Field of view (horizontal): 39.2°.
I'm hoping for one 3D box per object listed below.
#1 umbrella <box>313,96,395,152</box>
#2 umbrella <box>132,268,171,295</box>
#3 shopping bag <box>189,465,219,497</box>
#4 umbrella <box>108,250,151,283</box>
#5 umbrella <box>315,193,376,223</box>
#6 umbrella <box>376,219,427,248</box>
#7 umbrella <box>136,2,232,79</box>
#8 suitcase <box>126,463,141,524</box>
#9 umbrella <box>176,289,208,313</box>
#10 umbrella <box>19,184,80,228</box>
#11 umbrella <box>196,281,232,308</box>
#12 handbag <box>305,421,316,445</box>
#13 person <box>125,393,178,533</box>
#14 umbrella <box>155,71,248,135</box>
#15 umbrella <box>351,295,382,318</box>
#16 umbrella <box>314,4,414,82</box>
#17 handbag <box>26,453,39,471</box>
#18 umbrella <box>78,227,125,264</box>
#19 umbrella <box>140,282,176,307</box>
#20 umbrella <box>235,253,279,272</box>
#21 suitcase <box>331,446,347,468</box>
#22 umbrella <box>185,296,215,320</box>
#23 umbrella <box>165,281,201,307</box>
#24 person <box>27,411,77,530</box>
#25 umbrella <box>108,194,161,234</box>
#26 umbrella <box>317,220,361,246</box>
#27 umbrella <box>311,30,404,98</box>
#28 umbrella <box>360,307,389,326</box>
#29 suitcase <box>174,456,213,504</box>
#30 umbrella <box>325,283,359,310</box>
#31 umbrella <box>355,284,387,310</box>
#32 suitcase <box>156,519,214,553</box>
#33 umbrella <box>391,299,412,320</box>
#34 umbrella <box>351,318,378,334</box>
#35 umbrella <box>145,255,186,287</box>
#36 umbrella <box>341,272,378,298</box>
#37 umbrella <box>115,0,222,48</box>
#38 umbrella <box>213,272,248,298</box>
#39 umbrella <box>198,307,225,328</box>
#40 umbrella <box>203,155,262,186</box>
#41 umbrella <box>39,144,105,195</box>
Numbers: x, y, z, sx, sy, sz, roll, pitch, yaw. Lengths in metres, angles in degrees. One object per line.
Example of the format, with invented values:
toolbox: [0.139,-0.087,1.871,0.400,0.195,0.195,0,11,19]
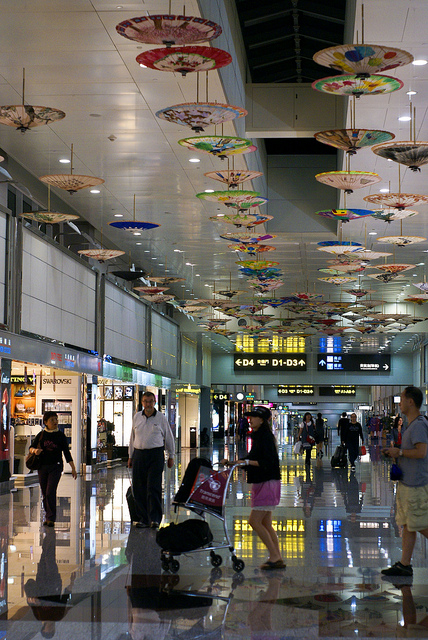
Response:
umbrella: [2.376,-3.266,10.207,1.237,0.871,1.183,2,-1,4]
umbrella: [-2.712,-1.677,25.700,1.317,1.165,1.268,1,-4,2]
shopping bag: [-0.095,1.525,5.727,0.250,0.260,0.089,2,-7,-2]
umbrella: [-3.293,-2.076,23.284,1.502,1.261,1.487,-1,-2,20]
umbrella: [3.589,-2.816,16.309,1.325,0.795,1.278,-1,-14,5]
umbrella: [5.321,-2.515,17.143,0.903,0.819,0.865,3,-12,0]
umbrella: [-0.319,-3.215,7.017,0.670,0.595,0.641,0,-15,0]
suitcase: [-1.148,2.664,8.640,0.171,0.570,0.828,3,-7,-10]
umbrella: [-1.134,-1.024,31.750,1.325,1.160,1.266,1,-3,-6]
umbrella: [-3.750,-2.542,13.871,1.270,0.638,1.203,1,7,0]
umbrella: [0.038,-1.318,30.001,1.452,1.281,1.392,2,0,-36]
handbag: [3.543,4.141,21.968,0.278,0.849,0.833,-1,-7,21]
person: [-0.864,1.902,8.078,0.570,1.797,0.732,7,-9,-38]
umbrella: [-0.207,-3.154,8.864,1.220,0.878,1.246,4,7,36]
umbrella: [7.930,-0.721,31.312,1.243,1.159,1.242,3,-1,26]
umbrella: [1.726,-3.129,6.956,0.715,0.470,0.688,8,-10,-40]
handbag: [-2.502,1.960,8.304,0.163,0.242,0.281,3,-7,-16]
umbrella: [-3.714,-2.484,19.622,1.401,1.275,1.333,3,-6,-26]
umbrella: [-2.564,-1.164,27.084,1.202,0.971,1.160,-3,-8,4]
umbrella: [1.604,-2.195,22.484,1.117,0.520,2.022,3,-7,-14]
suitcase: [4.277,4.491,20.235,0.555,0.575,0.988,3,-11,0]
umbrella: [-0.701,-0.667,31.770,1.378,1.243,1.330,2,-3,4]
umbrella: [-1.564,-1.358,30.673,1.314,1.207,1.256,1,-5,-6]
person: [-2.265,2.094,8.358,0.598,1.573,0.438,2,-7,-5]
umbrella: [-2.261,-2.793,17.003,1.366,0.753,1.415,-2,-3,36]
umbrella: [4.093,-2.862,19.641,1.096,1.146,1.062,3,-2,-19]
umbrella: [1.896,-3.223,7.869,0.603,0.551,0.600,-6,-17,24]
umbrella: [8.838,-0.201,32.885,1.179,1.089,1.173,1,-1,24]
suitcase: [-0.205,1.539,5.844,0.299,0.467,0.115,22,-4,22]
umbrella: [6.608,-1.197,31.017,1.303,1.122,1.257,1,-3,4]
umbrella: [7.998,-1.230,30.625,1.228,1.176,1.267,-1,-3,44]
suitcase: [-0.258,1.966,5.478,0.388,0.138,0.265,-1,0,-25]
umbrella: [10.556,-0.594,33.668,1.168,1.117,1.134,-2,-7,6]
umbrella: [8.934,0.326,35.593,1.004,0.770,0.959,2,-2,-6]
umbrella: [-2.003,-2.019,23.987,1.386,1.135,1.323,2,-2,-30]
umbrella: [6.875,-1.691,28.287,1.095,1.029,1.088,1,-2,22]
umbrella: [-0.464,-3.044,6.241,1.067,0.278,0.742,1,-7,3]
umbrella: [0.797,-1.760,28.953,1.257,1.079,1.195,0,2,-23]
umbrella: [-0.156,-0.142,33.457,1.286,0.583,1.226,3,-2,-14]
umbrella: [0.314,-3.076,12.429,1.015,0.460,1.145,2,-7,-8]
umbrella: [-2.822,-2.991,12.029,0.748,0.670,0.721,-2,-15,6]
